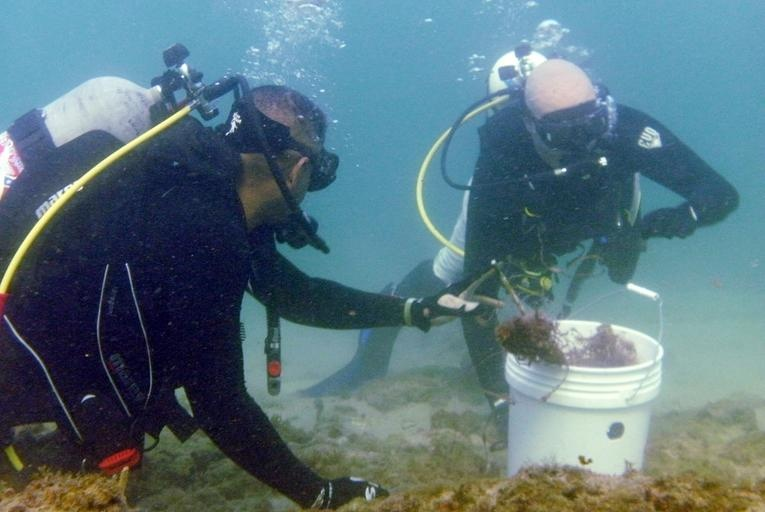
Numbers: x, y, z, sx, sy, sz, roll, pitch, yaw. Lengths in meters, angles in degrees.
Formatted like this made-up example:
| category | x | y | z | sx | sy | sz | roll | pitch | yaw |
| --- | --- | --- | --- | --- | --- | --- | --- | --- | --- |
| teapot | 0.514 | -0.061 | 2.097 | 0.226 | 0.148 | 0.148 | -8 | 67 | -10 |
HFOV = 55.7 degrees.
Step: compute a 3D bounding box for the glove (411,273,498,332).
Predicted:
| category | x | y | z | sx | sy | sz | roll | pitch | yaw |
| --- | --- | --- | --- | --- | --- | --- | --- | --- | --- |
| glove | 0.811 | 0.485 | 7.886 | 0.882 | 0.257 | 0.428 | -10 | 52 | 13 |
